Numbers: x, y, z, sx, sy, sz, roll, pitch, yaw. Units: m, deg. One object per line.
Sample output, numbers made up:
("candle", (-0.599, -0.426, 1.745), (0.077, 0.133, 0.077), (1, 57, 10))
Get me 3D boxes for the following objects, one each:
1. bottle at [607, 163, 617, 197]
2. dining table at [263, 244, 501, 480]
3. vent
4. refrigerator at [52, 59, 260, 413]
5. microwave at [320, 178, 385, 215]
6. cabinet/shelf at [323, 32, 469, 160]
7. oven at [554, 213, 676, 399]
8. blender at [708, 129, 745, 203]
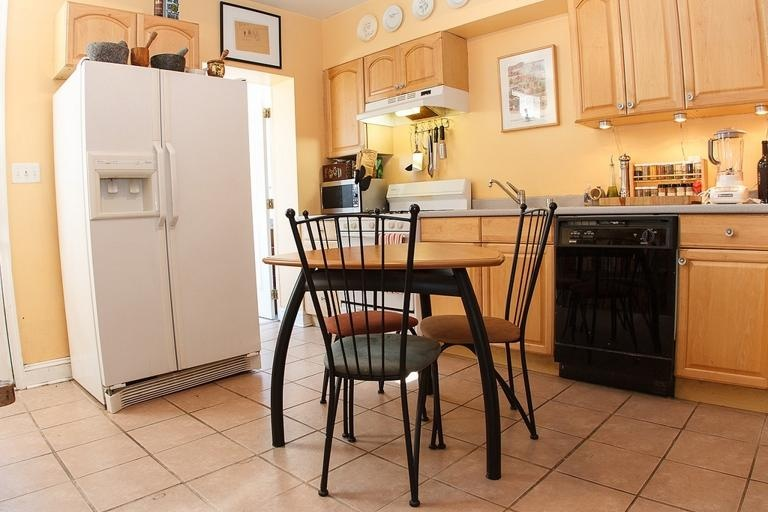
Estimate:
("bottle", (1.771, -0.597, 4.129), (0.070, 0.265, 0.184), (3, 11, 21))
("dining table", (0.161, 0.524, 3.228), (1.455, 0.938, 1.299), (-1, 0, 24))
("vent", (0.265, -1.379, 4.938), (0.903, 0.275, 0.493), (6, 11, 37))
("refrigerator", (-1.574, -0.153, 3.767), (1.371, 2.275, 0.685), (-5, 11, -22))
("microwave", (-0.263, -0.547, 5.313), (0.740, 0.395, 0.520), (0, 2, 41))
("cabinet/shelf", (0.156, -1.509, 4.988), (1.544, 0.785, 0.457), (-1, -1, 37))
("oven", (1.772, 0.319, 3.841), (0.953, 1.185, 1.005), (2, 1, 30))
("blender", (2.304, -0.604, 3.588), (0.235, 0.483, 0.458), (5, 11, 30))
